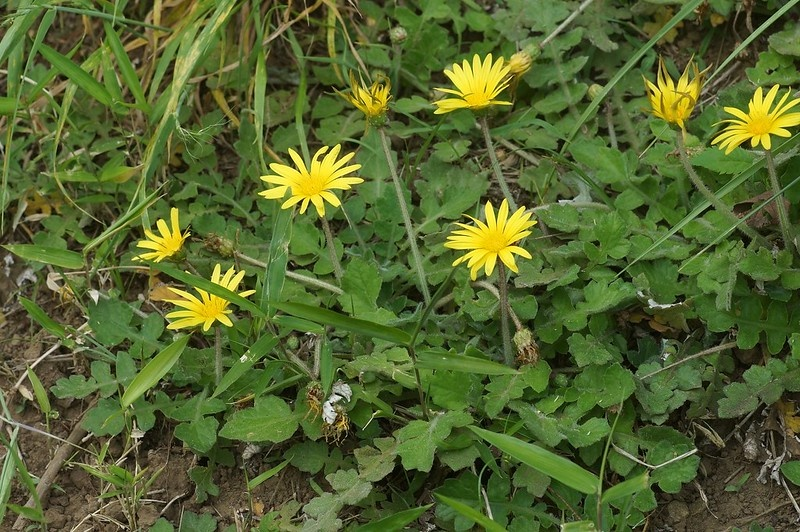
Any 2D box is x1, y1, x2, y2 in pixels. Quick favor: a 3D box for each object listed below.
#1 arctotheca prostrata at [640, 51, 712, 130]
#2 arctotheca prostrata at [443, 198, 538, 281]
[{"bbox_3d":[1.009,-0.581,2.154,0.181,0.174,0.212,-2,94,38],"label":"arctotheca prostrata"},{"bbox_3d":[0.360,-0.110,2.165,0.379,0.407,0.092,-9,81,15],"label":"arctotheca prostrata"}]
